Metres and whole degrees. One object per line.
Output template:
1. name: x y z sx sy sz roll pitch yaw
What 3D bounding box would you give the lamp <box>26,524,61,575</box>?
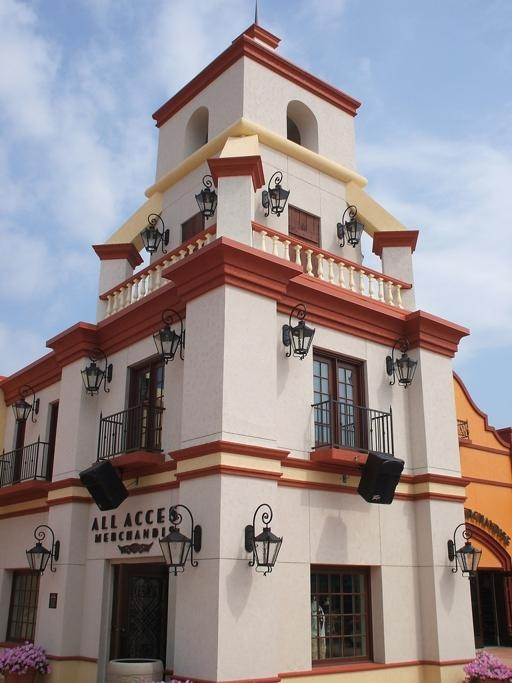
1. lamp: -3.900 3.826 11.671 0.510 0.941 0.437 10 -32 -30

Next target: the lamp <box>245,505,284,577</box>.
1. lamp: 0.153 2.440 7.931 0.471 0.874 0.667 -11 -25 28

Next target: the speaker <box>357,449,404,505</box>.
1. speaker: 1.873 2.026 9.567 0.460 0.709 0.438 13 13 -8

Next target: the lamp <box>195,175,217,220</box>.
1. lamp: -0.955 -2.956 12.692 0.469 1.035 0.409 18 -27 -42

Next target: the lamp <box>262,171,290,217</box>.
1. lamp: 0.355 -2.850 11.984 0.420 0.838 0.274 2 -9 5

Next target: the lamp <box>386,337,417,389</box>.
1. lamp: 2.590 0.342 11.317 0.443 0.793 0.381 -11 -22 38

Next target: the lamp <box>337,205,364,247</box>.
1. lamp: 1.990 -2.444 13.456 0.500 0.921 0.406 -7 -17 25

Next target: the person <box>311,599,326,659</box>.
1. person: 0.891 4.124 9.114 0.085 0.818 0.325 -17 -28 39

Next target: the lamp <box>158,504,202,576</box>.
1. lamp: -1.016 2.503 8.155 0.473 0.897 0.870 9 -23 -19

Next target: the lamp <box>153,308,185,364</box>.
1. lamp: -1.302 -0.094 9.750 0.455 0.884 0.327 6 -20 -24

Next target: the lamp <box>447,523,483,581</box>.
1. lamp: 3.604 3.518 10.780 0.565 0.889 0.755 -15 -27 35

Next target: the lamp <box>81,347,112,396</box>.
1. lamp: -2.997 0.528 11.976 0.512 0.916 0.597 12 -24 -25

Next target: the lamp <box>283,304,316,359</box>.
1. lamp: 0.632 -0.170 9.474 0.405 0.847 0.281 -8 -18 30

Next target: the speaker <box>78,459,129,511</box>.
1. speaker: -2.386 2.200 9.922 0.486 0.656 0.366 -19 12 41
